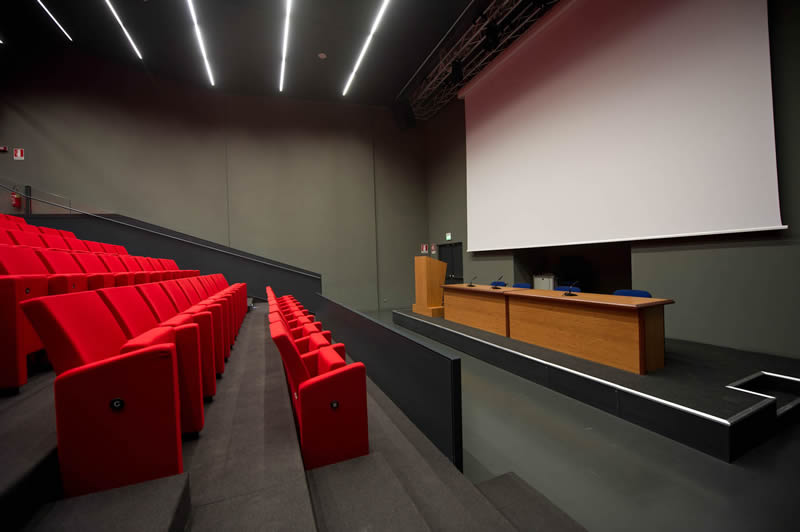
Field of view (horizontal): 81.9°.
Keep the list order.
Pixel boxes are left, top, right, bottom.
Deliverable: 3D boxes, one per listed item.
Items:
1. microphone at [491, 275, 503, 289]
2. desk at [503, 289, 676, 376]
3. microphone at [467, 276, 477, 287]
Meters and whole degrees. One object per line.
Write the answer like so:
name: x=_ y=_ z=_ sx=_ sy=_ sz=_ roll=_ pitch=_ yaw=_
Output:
microphone: x=1.369 y=0.214 z=6.406 sx=0.197 sy=0.214 sz=0.211 roll=1 pitch=-1 yaw=13
desk: x=1.883 y=0.570 z=5.042 sx=0.527 sy=0.697 sz=1.797 roll=-19 pitch=14 yaw=-31
microphone: x=1.234 y=0.275 z=7.836 sx=0.181 sy=0.239 sz=0.231 roll=1 pitch=-9 yaw=3
